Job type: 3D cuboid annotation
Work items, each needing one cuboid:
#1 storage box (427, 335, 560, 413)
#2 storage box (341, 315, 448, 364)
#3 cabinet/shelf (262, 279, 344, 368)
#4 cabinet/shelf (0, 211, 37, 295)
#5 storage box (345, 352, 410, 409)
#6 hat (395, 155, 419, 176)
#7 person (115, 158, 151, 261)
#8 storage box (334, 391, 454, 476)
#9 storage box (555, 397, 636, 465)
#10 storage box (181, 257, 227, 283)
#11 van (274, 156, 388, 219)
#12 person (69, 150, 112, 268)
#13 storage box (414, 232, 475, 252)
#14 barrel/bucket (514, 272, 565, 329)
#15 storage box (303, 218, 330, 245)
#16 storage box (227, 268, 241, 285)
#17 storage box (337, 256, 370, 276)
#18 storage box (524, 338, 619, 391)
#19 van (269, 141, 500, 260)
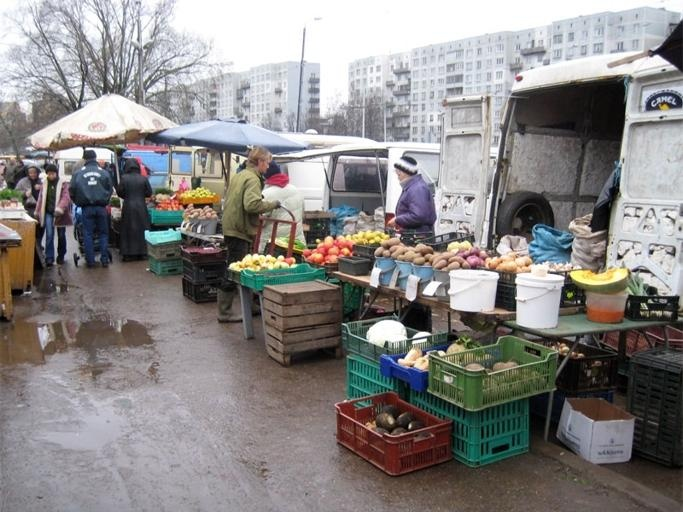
[{"bbox_3d":[1.289,0.957,4.524,0.885,0.313,0.585,-12,15,-30],"label":"storage box"},{"bbox_3d":[0.491,0.831,5.346,0.584,0.170,0.545,-6,8,-37],"label":"storage box"},{"bbox_3d":[-0.468,0.630,6.850,1.113,1.178,0.832,-4,5,-31],"label":"cabinet/shelf"},{"bbox_3d":[-5.794,-0.053,9.831,0.478,1.470,0.986,-1,11,-4],"label":"cabinet/shelf"},{"bbox_3d":[0.353,1.069,5.147,0.381,0.446,0.577,-4,5,-29],"label":"storage box"},{"bbox_3d":[0.926,-1.296,7.938,0.289,0.254,0.275,21,1,-12],"label":"hat"},{"bbox_3d":[-4.939,-1.060,12.996,0.847,2.484,0.692,8,13,36],"label":"person"},{"bbox_3d":[0.497,1.501,4.503,0.548,0.314,0.753,-2,5,-31],"label":"storage box"},{"bbox_3d":[2.153,1.469,4.665,0.462,0.387,0.501,6,7,-5],"label":"storage box"},{"bbox_3d":[-2.426,0.244,9.571,0.592,0.394,0.602,0,5,-30],"label":"storage box"},{"bbox_3d":[-0.234,-1.645,12.499,2.250,1.361,1.451,0,6,-13],"label":"van"},{"bbox_3d":[-5.557,-1.034,12.226,0.865,2.621,0.544,-5,12,-27],"label":"person"},{"bbox_3d":[1.188,-0.176,6.234,0.454,0.159,0.324,-5,7,-31],"label":"storage box"},{"bbox_3d":[1.648,0.341,4.636,0.401,0.440,0.435,0,2,0],"label":"barrel/bucket"},{"bbox_3d":[-0.505,-0.496,10.910,0.472,0.320,0.492,-1,3,-14],"label":"storage box"},{"bbox_3d":[-1.469,0.285,7.495,0.164,0.112,0.251,-2,11,-27],"label":"storage box"},{"bbox_3d":[0.126,0.111,6.514,0.194,0.141,0.308,-3,11,-32],"label":"storage box"},{"bbox_3d":[2.205,1.016,5.200,0.386,0.255,0.625,-1,8,-17],"label":"storage box"},{"bbox_3d":[1.248,-1.147,12.416,4.390,2.664,2.780,-4,5,-16],"label":"van"}]
